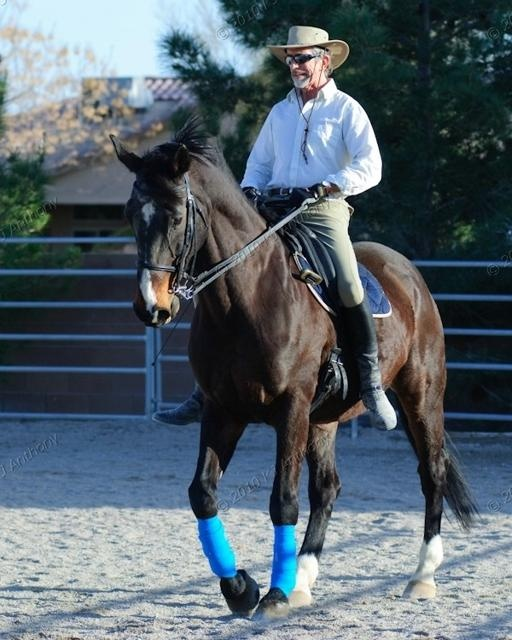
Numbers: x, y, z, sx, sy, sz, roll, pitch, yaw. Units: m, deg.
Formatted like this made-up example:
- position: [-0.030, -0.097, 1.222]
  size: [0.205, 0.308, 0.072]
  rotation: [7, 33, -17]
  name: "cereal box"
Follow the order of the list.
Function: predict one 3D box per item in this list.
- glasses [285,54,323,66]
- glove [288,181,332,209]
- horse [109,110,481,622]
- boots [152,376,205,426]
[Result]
- position: [0.270, -1.546, 8.251]
  size: [0.228, 0.072, 0.130]
  rotation: [2, 10, 12]
  name: "glasses"
- position: [0.308, -0.725, 8.001]
  size: [0.196, 0.076, 0.136]
  rotation: [-23, 1, -7]
  name: "glove"
- position: [0.241, 0.249, 7.995]
  size: [2.185, 2.761, 0.857]
  rotation: [-8, 13, -38]
  name: "horse"
- position: [-0.470, 0.523, 8.332]
  size: [0.335, 0.192, 0.113]
  rotation: [2, 17, -29]
  name: "boots"
